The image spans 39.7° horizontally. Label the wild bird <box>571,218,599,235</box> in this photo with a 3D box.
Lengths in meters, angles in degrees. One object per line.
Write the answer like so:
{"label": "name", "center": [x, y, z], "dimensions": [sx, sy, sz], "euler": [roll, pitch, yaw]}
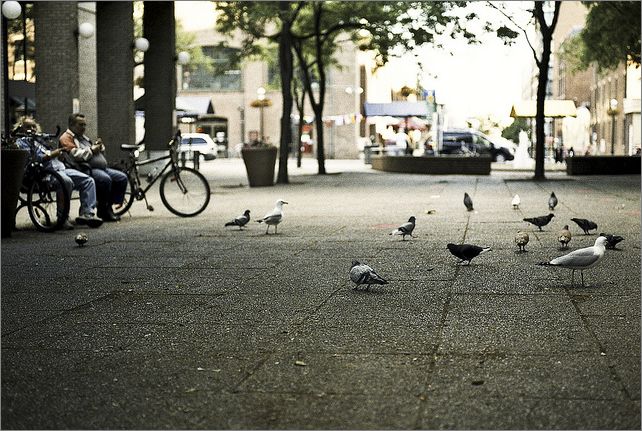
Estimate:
{"label": "wild bird", "center": [4.308, 0.174, 14.478], "dimensions": [0.330, 0.272, 0.598], "euler": [2, 9, 16]}

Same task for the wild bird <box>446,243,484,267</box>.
{"label": "wild bird", "center": [1.925, 0.508, 11.938], "dimensions": [0.488, 0.257, 0.199], "euler": [-5, 7, 23]}

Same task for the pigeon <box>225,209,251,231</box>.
{"label": "pigeon", "center": [-1.457, 0.095, 15.430], "dimensions": [0.391, 0.352, 0.638], "euler": [-1, 8, 0]}

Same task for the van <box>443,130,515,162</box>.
{"label": "van", "center": [9.728, -4.388, 56.254], "dimensions": [4.145, 1.901, 3.003], "euler": [0, 8, 4]}

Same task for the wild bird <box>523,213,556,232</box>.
{"label": "wild bird", "center": [3.691, 0.114, 15.018], "dimensions": [0.416, 0.290, 0.682], "euler": [1, 8, 12]}

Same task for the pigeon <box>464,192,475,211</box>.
{"label": "pigeon", "center": [3.016, -0.262, 18.067], "dimensions": [0.165, 0.358, 0.670], "euler": [1, 8, 11]}

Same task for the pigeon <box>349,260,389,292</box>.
{"label": "pigeon", "center": [0.563, 0.782, 10.965], "dimensions": [0.408, 0.376, 0.601], "euler": [-2, 8, -9]}

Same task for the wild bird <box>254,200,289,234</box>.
{"label": "wild bird", "center": [-0.832, 0.029, 15.058], "dimensions": [0.358, 0.582, 1.047], "euler": [-1, 8, -1]}

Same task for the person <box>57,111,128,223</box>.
{"label": "person", "center": [-4.226, -0.913, 16.377], "dimensions": [1.112, 1.864, 0.870], "euler": [1, 8, 27]}

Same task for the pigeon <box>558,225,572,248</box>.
{"label": "pigeon", "center": [3.524, 0.315, 12.959], "dimensions": [0.190, 0.273, 0.450], "euler": [2, 14, 28]}

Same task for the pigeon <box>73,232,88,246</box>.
{"label": "pigeon", "center": [-3.720, 0.378, 13.848], "dimensions": [0.181, 0.189, 0.214], "euler": [1, 8, 2]}

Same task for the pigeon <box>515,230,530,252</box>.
{"label": "pigeon", "center": [2.959, 0.391, 13.121], "dimensions": [0.170, 0.283, 0.422], "euler": [1, 8, 12]}

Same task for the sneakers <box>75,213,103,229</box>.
{"label": "sneakers", "center": [-4.090, 0.097, 15.717], "dimensions": [0.528, 0.217, 0.197], "euler": [2, -15, -9]}

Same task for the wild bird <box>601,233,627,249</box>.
{"label": "wild bird", "center": [4.148, 0.382, 12.637], "dimensions": [0.182, 0.208, 0.544], "euler": [0, 12, -15]}
